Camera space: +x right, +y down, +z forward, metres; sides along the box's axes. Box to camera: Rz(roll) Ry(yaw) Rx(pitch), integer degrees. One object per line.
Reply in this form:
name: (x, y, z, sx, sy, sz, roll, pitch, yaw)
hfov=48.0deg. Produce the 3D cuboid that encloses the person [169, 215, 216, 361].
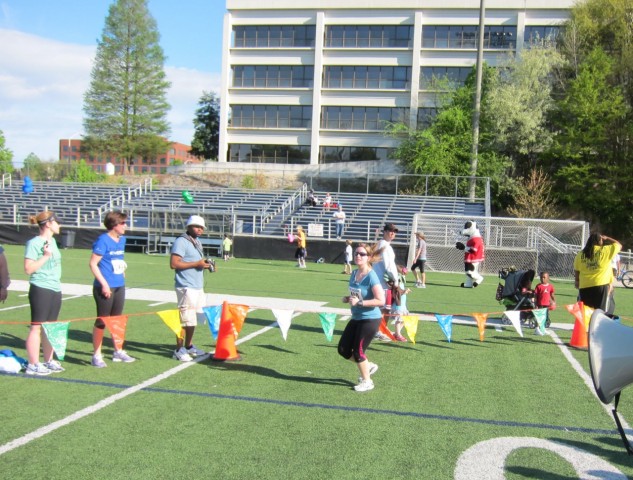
person: (-2.114, 0.788, 11.843, 0.632, 2.416, 0.638, 0, 7, -10)

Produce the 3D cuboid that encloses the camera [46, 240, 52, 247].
camera: (-4.136, 0.049, 10.869, 0.061, 0.094, 0.027, 4, -8, -8)

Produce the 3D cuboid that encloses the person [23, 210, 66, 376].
person: (-4.193, 0.794, 11.064, 0.570, 2.483, 0.704, 2, 4, 13)

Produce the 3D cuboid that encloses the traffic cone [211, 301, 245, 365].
traffic cone: (-1.487, 1.501, 11.917, 0.621, 0.995, 0.330, 1, 7, 2)

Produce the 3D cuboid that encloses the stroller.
stroller: (4.366, 1.176, 14.951, 1.140, 1.739, 1.043, -1, 1, 21)

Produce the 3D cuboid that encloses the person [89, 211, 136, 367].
person: (-3.350, 0.772, 11.515, 0.627, 2.497, 0.744, 2, 3, 31)

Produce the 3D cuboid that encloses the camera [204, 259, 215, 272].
camera: (-1.758, 0.408, 11.623, 0.126, 0.221, 0.088, -39, -10, 9)
